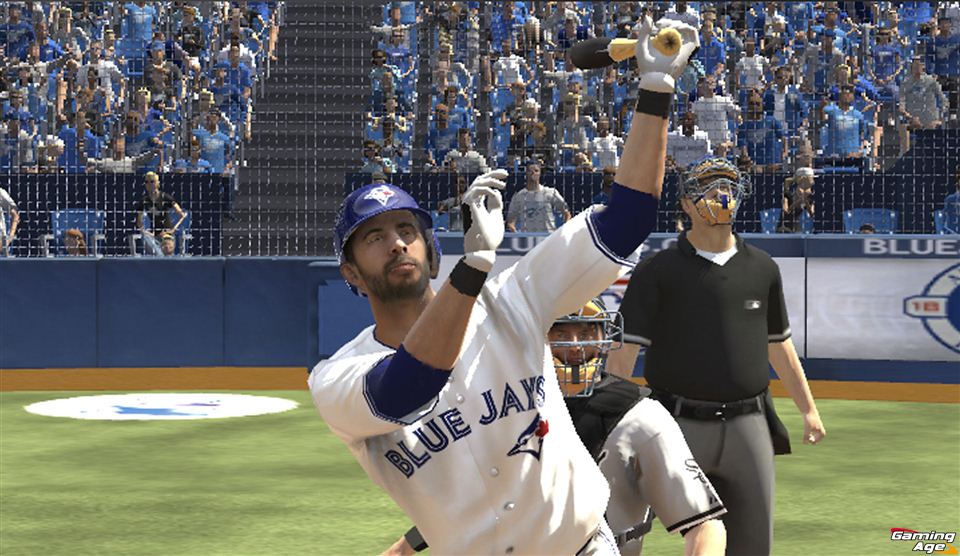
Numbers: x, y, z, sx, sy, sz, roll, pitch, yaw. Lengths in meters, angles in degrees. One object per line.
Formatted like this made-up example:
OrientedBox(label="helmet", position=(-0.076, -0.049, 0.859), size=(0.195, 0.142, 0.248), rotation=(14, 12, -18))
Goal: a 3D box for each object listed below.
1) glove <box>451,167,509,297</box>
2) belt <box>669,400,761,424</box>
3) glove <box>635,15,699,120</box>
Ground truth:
OrientedBox(label="glove", position=(-0.025, -0.433, 14.665), size=(0.486, 1.260, 0.685), rotation=(2, 15, 8))
OrientedBox(label="belt", position=(2.748, 1.567, 16.940), size=(1.099, 0.228, 0.170), rotation=(1, 15, 4))
OrientedBox(label="glove", position=(1.843, -2.062, 14.766), size=(0.657, 1.176, 0.413), rotation=(10, 8, 0))
